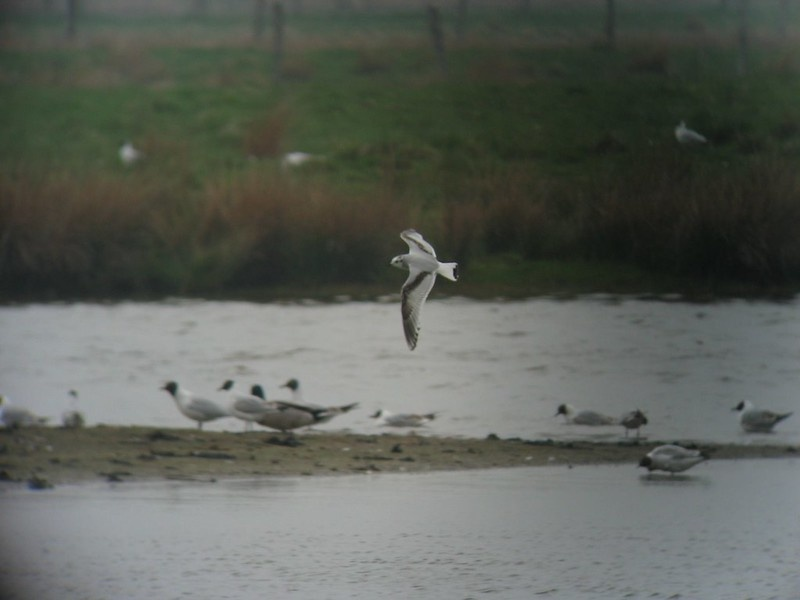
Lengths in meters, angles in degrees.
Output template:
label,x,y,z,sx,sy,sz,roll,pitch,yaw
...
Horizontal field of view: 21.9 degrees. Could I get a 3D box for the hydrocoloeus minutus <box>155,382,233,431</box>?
label,x,y,z,sx,sy,sz,roll,pitch,yaw
hydrocoloeus minutus,-0.968,0.504,9.724,0.306,0.217,0.047,0,10,12

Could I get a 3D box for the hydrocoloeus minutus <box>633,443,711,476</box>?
label,x,y,z,sx,sy,sz,roll,pitch,yaw
hydrocoloeus minutus,1.278,0.759,9.743,0.325,0.129,0.053,-4,10,-12

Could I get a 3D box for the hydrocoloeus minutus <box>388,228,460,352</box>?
label,x,y,z,sx,sy,sz,roll,pitch,yaw
hydrocoloeus minutus,0.084,-0.095,9.814,0.435,0.835,0.094,-1,-9,13

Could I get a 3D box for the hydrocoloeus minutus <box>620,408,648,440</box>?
label,x,y,z,sx,sy,sz,roll,pitch,yaw
hydrocoloeus minutus,1.094,0.593,9.753,0.129,0.121,0.046,-2,10,3

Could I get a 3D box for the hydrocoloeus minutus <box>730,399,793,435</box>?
label,x,y,z,sx,sy,sz,roll,pitch,yaw
hydrocoloeus minutus,1.684,0.570,9.714,0.274,0.152,0.112,-1,3,3

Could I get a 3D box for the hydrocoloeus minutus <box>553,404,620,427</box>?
label,x,y,z,sx,sy,sz,roll,pitch,yaw
hydrocoloeus minutus,0.872,0.559,9.839,0.336,0.133,0.103,-2,3,5

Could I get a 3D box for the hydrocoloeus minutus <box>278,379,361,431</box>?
label,x,y,z,sx,sy,sz,roll,pitch,yaw
hydrocoloeus minutus,-0.385,0.503,9.746,0.231,0.242,0.261,-5,6,35
